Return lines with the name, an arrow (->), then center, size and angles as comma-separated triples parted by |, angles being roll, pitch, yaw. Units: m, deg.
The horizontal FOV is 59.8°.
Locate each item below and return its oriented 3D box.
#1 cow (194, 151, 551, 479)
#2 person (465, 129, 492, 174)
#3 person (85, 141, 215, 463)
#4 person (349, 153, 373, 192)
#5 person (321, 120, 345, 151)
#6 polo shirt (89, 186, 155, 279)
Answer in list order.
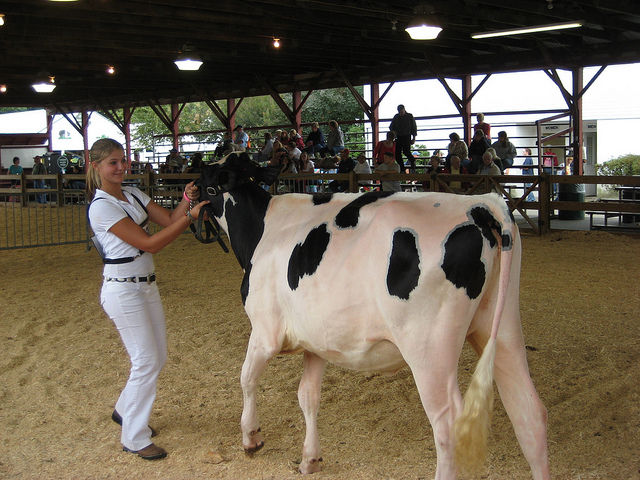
cow -> 0.359, 0.669, 3.857 | 2.359, 2.133, 0.705 | 7, 14, 32
person -> 3.726, -2.018, 13.239 | 0.545, 1.214, 0.632 | 0, -2, 43
person -> -1.413, 0.403, 4.531 | 0.769, 2.405, 1.181 | -7, 13, -28
person -> 0.913, -1.452, 12.930 | 0.478, 1.029, 0.395 | 0, 1, -11
person -> 0.401, -2.860, 15.232 | 0.678, 1.055, 0.605 | 1, 4, 14
polo shirt -> -1.585, -0.101, 4.448 | 0.350, 0.767, 0.722 | -2, 14, 3
